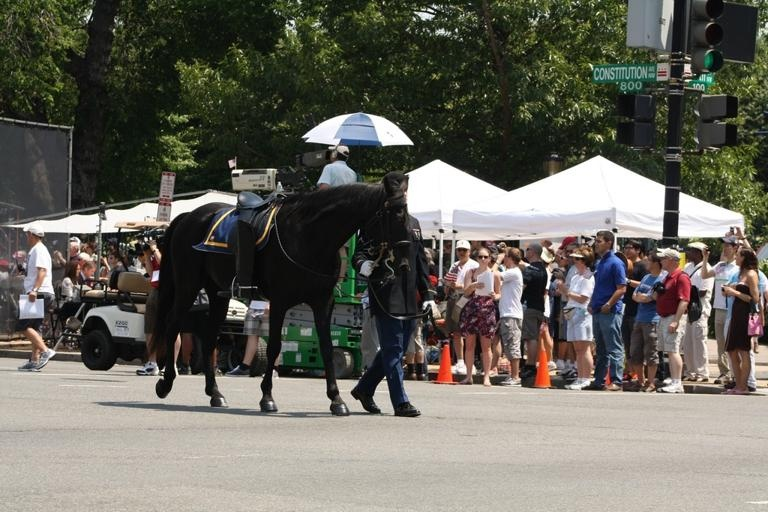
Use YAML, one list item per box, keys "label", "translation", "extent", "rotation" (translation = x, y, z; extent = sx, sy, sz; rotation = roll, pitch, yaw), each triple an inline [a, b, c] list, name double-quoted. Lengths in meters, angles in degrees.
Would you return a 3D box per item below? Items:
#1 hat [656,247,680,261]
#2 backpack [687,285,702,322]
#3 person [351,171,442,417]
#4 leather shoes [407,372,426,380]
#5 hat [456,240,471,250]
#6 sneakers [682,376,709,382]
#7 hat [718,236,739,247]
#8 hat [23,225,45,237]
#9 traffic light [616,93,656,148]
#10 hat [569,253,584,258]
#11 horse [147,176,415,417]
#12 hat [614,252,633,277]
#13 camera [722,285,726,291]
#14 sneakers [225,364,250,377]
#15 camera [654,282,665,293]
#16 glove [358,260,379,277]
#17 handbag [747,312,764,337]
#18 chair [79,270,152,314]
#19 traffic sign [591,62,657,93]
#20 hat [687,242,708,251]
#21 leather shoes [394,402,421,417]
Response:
- label: "hat"
  translation: [5.465, -0.094, 25.123]
  extent: [0.358, 0.114, 0.218]
  rotation: [8, 4, 3]
- label: "backpack"
  translation: [6.242, 0.896, 26.299]
  extent: [0.258, 0.752, 0.646]
  rotation: [-2, -3, 13]
- label: "person"
  translation: [0.151, 0.574, 20.643]
  extent: [1.249, 3.794, 1.317]
  rotation: [-1, -3, -1]
- label: "leather shoes"
  translation: [0.661, 2.442, 27.344]
  extent: [0.402, 0.238, 0.126]
  rotation: [1, -2, 27]
- label: "hat"
  translation: [1.659, -0.291, 27.335]
  extent: [0.224, 0.228, 0.623]
  rotation: [-1, -3, 8]
- label: "sneakers"
  translation: [6.472, 2.484, 27.081]
  extent: [0.168, 0.195, 0.549]
  rotation: [3, -8, -41]
- label: "hat"
  translation: [7.384, -0.393, 27.809]
  extent: [0.325, 0.288, 0.660]
  rotation: [-1, -3, 14]
- label: "hat"
  translation: [-7.716, -0.602, 28.859]
  extent: [0.384, 0.164, 0.526]
  rotation: [15, 3, -32]
- label: "traffic light"
  translation: [4.738, -2.574, 24.553]
  extent: [0.754, 1.049, 0.397]
  rotation: [-1, -3, -3]
- label: "hat"
  translation: [3.865, -0.062, 26.192]
  extent: [0.110, 0.104, 0.337]
  rotation: [1, -3, -31]
- label: "horse"
  translation: [-1.817, 0.587, 21.339]
  extent: [6.010, 3.714, 1.576]
  rotation: [0, -4, 44]
- label: "hat"
  translation: [4.950, 0.120, 26.976]
  extent: [0.156, 0.486, 0.492]
  rotation: [-5, -3, -33]
- label: "camera"
  translation: [6.698, 0.572, 25.805]
  extent: [0.137, 0.124, 0.136]
  rotation: [0, -3, 3]
- label: "sneakers"
  translation: [-2.916, 2.271, 26.593]
  extent: [0.586, 0.213, 0.197]
  rotation: [1, -7, 0]
- label: "camera"
  translation: [5.342, 0.548, 25.413]
  extent: [0.213, 0.169, 0.166]
  rotation: [12, -11, 1]
- label: "glove"
  translation: [-0.247, 0.134, 20.424]
  extent: [0.281, 0.201, 0.099]
  rotation: [-36, -63, 21]
- label: "handbag"
  translation: [7.199, 1.259, 25.436]
  extent: [0.213, 0.466, 0.539]
  rotation: [1, -1, 44]
- label: "chair"
  translation: [-5.589, 0.696, 27.555]
  extent: [0.699, 0.787, 1.663]
  rotation: [1, -3, -34]
- label: "traffic sign"
  translation: [4.581, -3.442, 24.919]
  extent: [1.173, 0.598, 0.548]
  rotation: [-1, -3, 9]
- label: "hat"
  translation: [7.144, -0.285, 29.847]
  extent: [0.512, 0.152, 0.316]
  rotation: [10, -2, -1]
- label: "leather shoes"
  translation: [0.398, 2.379, 20.664]
  extent: [0.461, 0.173, 0.170]
  rotation: [-4, -6, 28]
